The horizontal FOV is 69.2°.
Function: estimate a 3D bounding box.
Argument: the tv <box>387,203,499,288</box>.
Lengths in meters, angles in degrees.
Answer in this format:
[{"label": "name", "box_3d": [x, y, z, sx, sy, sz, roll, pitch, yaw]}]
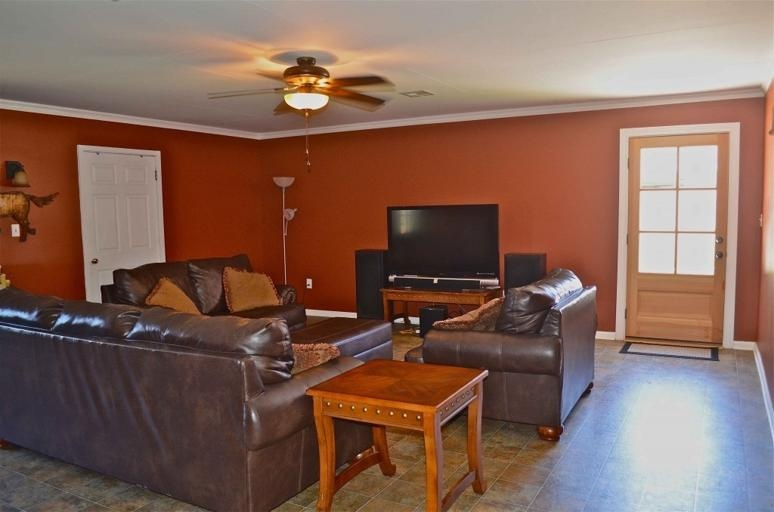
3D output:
[{"label": "tv", "box_3d": [0.822, -0.135, 7.598, 1.334, 0.803, 0.133, -1, 1, 23]}]

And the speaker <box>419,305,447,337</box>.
[{"label": "speaker", "box_3d": [0.580, 0.785, 7.269, 0.508, 0.446, 0.353, 1, 4, 11]}]

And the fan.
[{"label": "fan", "box_3d": [-0.716, -1.166, 5.079, 1.386, 0.628, 1.314, 1, 0, -23]}]

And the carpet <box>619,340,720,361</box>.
[{"label": "carpet", "box_3d": [3.252, 1.088, 6.460, 0.977, 0.063, 0.573, 0, 3, 26]}]

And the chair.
[{"label": "chair", "box_3d": [1.035, 0.820, 5.042, 1.371, 1.097, 1.842, 1, 1, 30]}]

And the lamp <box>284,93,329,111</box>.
[{"label": "lamp", "box_3d": [-0.727, -1.387, 5.027, 0.382, 0.101, 0.286, -1, 3, -1]}]
